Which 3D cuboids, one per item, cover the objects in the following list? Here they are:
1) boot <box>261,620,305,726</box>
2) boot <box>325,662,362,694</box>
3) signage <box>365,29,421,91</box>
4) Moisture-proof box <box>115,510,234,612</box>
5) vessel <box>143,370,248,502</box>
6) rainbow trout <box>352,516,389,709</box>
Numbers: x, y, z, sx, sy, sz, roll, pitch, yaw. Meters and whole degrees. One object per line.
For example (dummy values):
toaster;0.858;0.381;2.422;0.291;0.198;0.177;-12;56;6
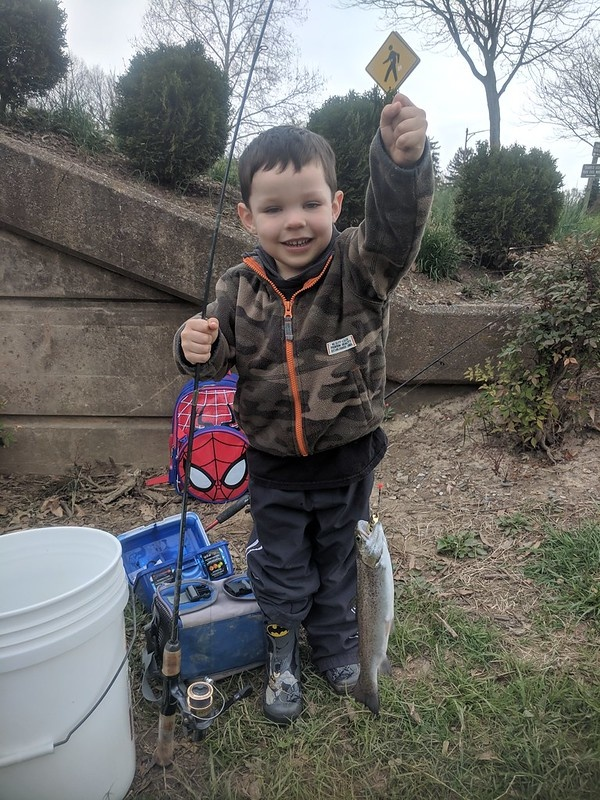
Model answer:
boot;-0.067;0.964;2.388;0.128;0.305;0.397;-3;-1;1
boot;0.161;1.008;2.431;0.077;0.146;0.058;-15;53;-24
signage;0.261;-0.991;1.992;0.158;0.203;0.194;3;11;13
Moisture-proof box;-0.528;0.669;2.868;0.450;0.147;0.504;4;33;-17
vessel;-0.388;0.127;2.910;0.532;0.588;0.353;-11;31;-22
rainbow trout;0.223;0.689;2.090;0.109;0.727;0.217;2;10;6
